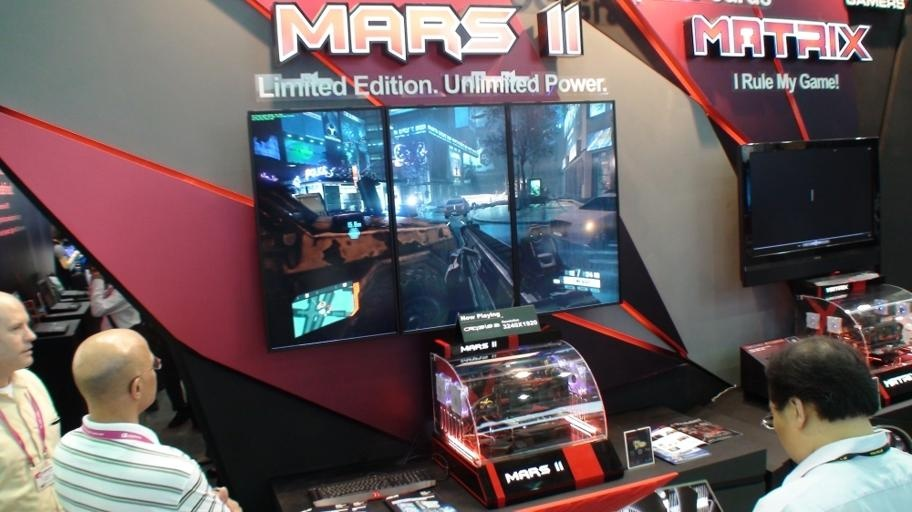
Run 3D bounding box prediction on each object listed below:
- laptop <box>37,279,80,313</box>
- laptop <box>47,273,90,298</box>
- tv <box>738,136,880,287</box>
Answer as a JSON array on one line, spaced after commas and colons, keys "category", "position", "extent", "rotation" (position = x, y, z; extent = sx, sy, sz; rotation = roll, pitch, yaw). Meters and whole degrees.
[{"category": "laptop", "position": [-4.271, 0.433, 6.406], "extent": [0.172, 0.197, 0.306], "rotation": [-5, 11, -5]}, {"category": "laptop", "position": [-4.389, 0.317, 6.774], "extent": [0.407, 0.270, 0.219], "rotation": [-2, 1, 34]}, {"category": "tv", "position": [3.169, -0.431, 5.457], "extent": [1.399, 0.967, 0.190], "rotation": [-6, 6, -17]}]
